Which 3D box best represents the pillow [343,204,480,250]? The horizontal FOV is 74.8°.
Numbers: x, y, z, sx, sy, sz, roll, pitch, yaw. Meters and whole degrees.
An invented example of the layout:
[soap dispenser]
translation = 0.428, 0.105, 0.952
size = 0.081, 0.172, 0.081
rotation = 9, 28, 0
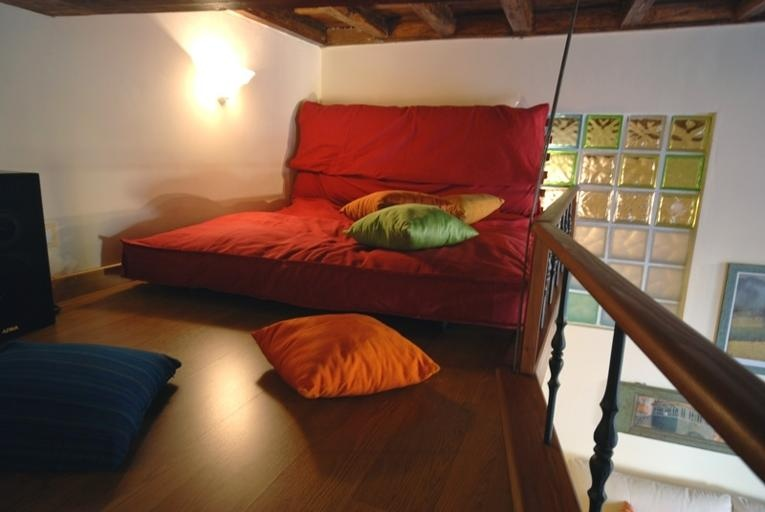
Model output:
[pillow]
translation = 0.218, -0.169, 2.953
size = 0.379, 0.171, 0.394
rotation = 4, 9, 43
